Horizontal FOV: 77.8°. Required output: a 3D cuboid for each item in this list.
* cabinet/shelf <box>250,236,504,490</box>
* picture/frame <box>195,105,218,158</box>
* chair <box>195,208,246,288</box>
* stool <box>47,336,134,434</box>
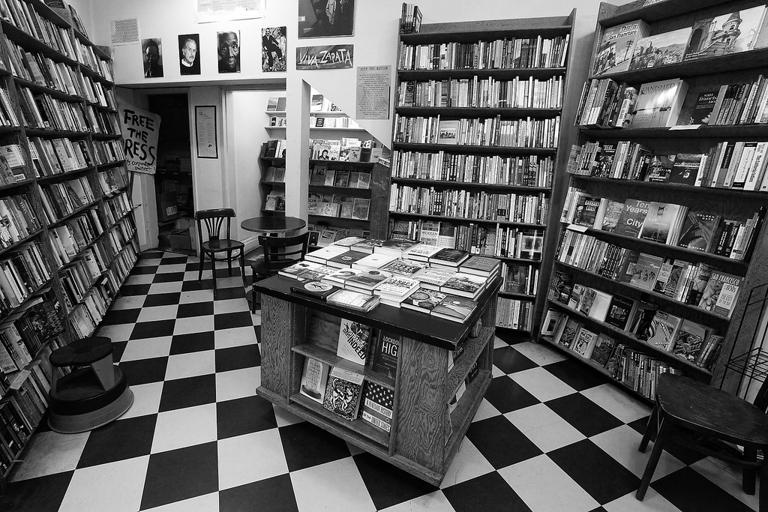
[{"bbox_3d":[0.142,0.516,4.087,1.786,1.093,1.760,11,21,29],"label":"cabinet/shelf"},{"bbox_3d":[-2.538,-1.775,6.779,0.355,0.702,0.102,9,20,21],"label":"picture/frame"},{"bbox_3d":[-2.231,-0.205,6.408,0.616,0.944,1.715,-6,19,-21],"label":"chair"},{"bbox_3d":[-2.551,1.104,4.044,0.678,0.605,0.643,-9,8,-4],"label":"stool"}]
